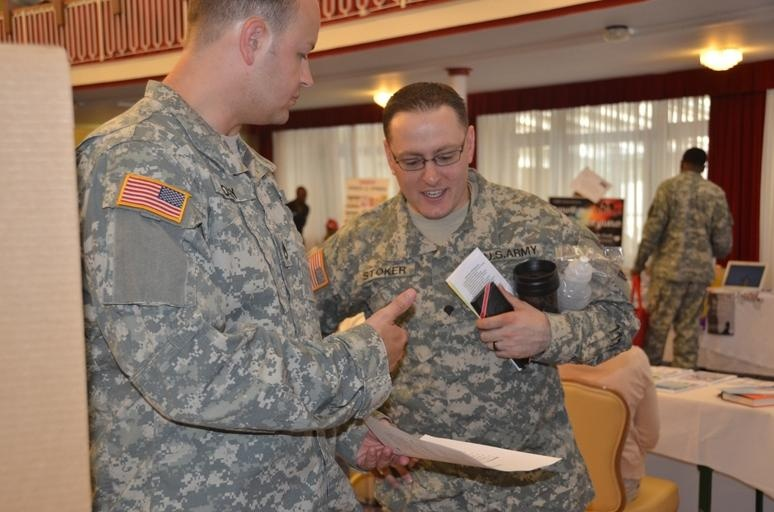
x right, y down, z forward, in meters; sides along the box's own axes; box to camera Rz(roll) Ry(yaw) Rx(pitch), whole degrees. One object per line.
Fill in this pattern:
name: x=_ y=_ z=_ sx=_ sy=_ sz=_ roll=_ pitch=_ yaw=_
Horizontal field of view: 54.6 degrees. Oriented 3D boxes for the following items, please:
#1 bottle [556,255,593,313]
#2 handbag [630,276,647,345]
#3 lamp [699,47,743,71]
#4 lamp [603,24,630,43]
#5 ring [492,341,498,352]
bottle: x=0.622 y=0.091 z=2.481 sx=0.110 sy=0.185 sz=0.065 roll=1 pitch=6 yaw=14
handbag: x=2.061 y=0.468 z=6.243 sx=0.142 sy=0.600 sz=0.125 roll=1 pitch=-4 yaw=8
lamp: x=3.252 y=-1.953 z=7.336 sx=0.349 sy=0.177 sz=0.283 roll=3 pitch=7 yaw=28
lamp: x=1.982 y=-1.933 z=6.476 sx=0.212 sy=0.115 sz=0.291 roll=2 pitch=7 yaw=17
ring: x=0.337 y=0.286 z=2.363 sx=0.007 sy=0.025 sz=0.024 roll=-9 pitch=34 yaw=2
